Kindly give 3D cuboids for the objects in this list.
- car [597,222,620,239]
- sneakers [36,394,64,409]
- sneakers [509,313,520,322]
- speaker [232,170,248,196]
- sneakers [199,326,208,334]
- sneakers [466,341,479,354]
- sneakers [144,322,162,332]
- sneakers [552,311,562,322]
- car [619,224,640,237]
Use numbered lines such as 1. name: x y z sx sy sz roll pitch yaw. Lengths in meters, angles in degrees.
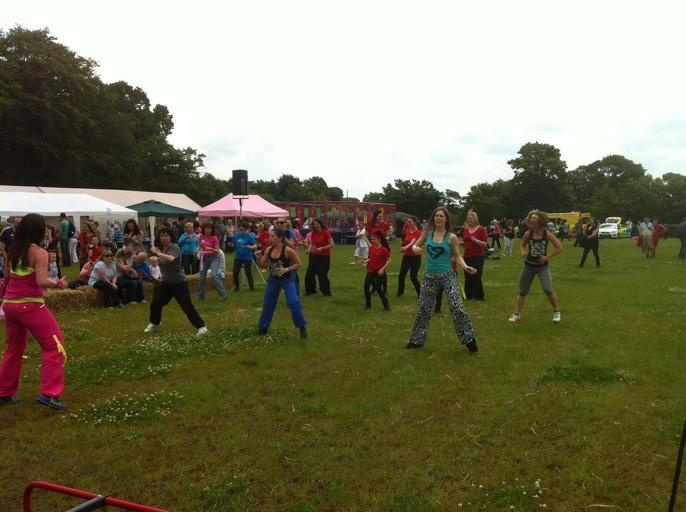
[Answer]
1. car: 24.084 -2.263 47.663 1.602 1.189 2.612 -2 1 36
2. sneakers: -3.485 1.743 6.297 0.268 0.133 0.098 23 0 -11
3. sneakers: 3.375 1.225 10.405 0.116 0.148 0.330 -6 -7 40
4. speaker: -3.129 -2.238 16.266 0.439 0.766 0.470 -3 9 -17
5. sneakers: -2.533 1.375 9.619 0.099 0.139 0.175 -24 0 -41
6. sneakers: 2.030 1.442 8.300 0.168 0.240 0.136 -6 9 9
7. sneakers: -3.615 1.360 10.045 0.125 0.150 0.345 2 6 -8
8. sneakers: 4.159 1.207 10.312 0.109 0.146 0.332 -8 -9 34
9. car: 27.901 -2.461 51.649 2.011 1.041 2.865 5 7 43
